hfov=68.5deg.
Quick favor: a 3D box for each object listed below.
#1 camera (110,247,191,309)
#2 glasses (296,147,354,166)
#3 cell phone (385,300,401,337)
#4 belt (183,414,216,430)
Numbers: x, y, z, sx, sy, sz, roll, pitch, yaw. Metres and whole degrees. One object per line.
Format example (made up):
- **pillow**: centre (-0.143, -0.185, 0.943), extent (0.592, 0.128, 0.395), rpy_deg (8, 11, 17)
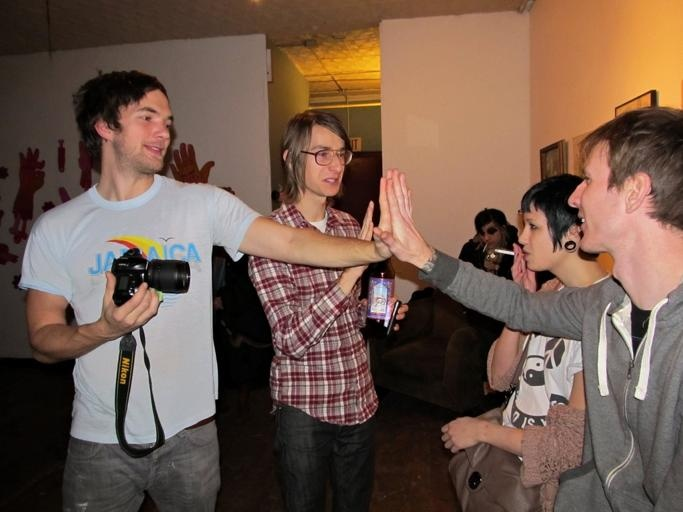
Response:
- **camera**: centre (-0.639, 0.068, 1.694), extent (0.209, 0.122, 0.193), rpy_deg (0, 15, -2)
- **glasses**: centre (-0.061, -0.459, 2.303), extent (0.130, 0.041, 0.135), rpy_deg (0, -3, -37)
- **cell phone**: centre (0.224, 0.278, 2.221), extent (0.032, 0.134, 0.136), rpy_deg (12, -21, 3)
- **belt**: centre (-0.524, 0.603, 1.825), extent (0.078, 0.018, 0.074), rpy_deg (-28, -2, -2)
